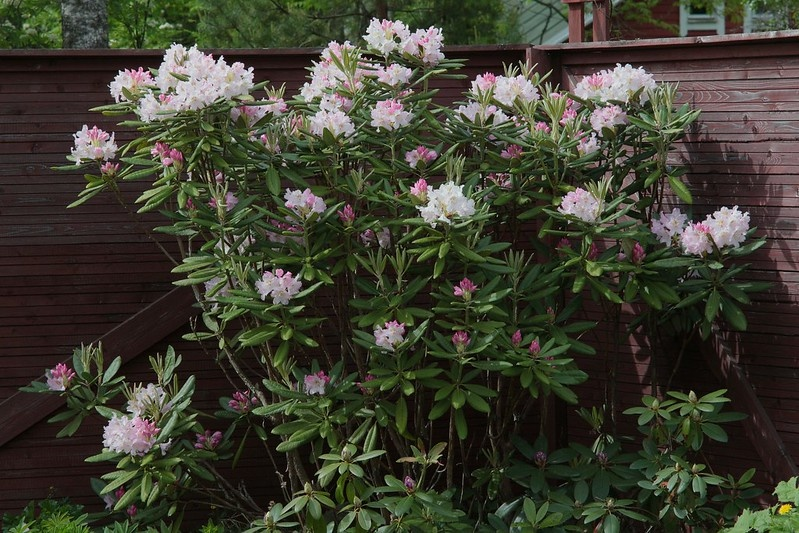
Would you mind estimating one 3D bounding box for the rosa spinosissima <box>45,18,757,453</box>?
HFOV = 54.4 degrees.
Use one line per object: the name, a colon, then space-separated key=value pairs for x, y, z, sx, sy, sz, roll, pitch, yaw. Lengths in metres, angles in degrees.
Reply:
rosa spinosissima: x=-0.024 y=-0.241 z=4.250 sx=2.779 sy=1.953 sz=2.301 roll=-2 pitch=-5 yaw=-9
